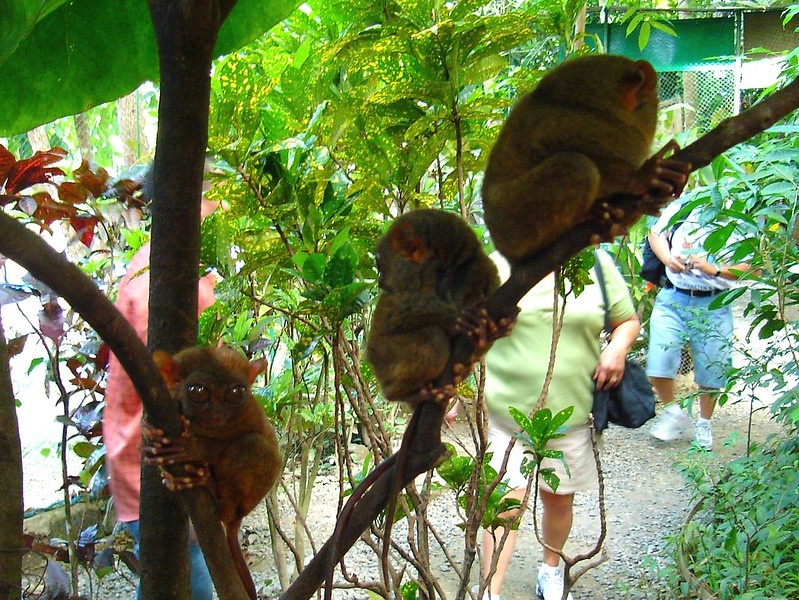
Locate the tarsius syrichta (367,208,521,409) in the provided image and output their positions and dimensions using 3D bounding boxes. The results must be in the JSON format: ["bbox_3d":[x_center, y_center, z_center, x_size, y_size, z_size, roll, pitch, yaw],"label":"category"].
[{"bbox_3d":[0.114,0.021,1.726,0.370,0.480,0.338,6,1,26],"label":"tarsius syrichta"}]

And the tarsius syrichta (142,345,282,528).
[{"bbox_3d":[-0.489,0.359,1.747,0.362,0.476,0.269,6,-4,-5],"label":"tarsius syrichta"}]

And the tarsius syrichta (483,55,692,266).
[{"bbox_3d":[0.428,-0.361,1.631,0.460,0.550,0.348,1,3,9],"label":"tarsius syrichta"}]

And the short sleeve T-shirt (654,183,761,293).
[{"bbox_3d":[2.706,-0.504,6.097,0.911,0.858,0.519,14,25,34],"label":"short sleeve T-shirt"}]

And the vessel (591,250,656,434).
[{"bbox_3d":[1.282,0.263,3.878,0.338,1.079,0.588,1,4,19],"label":"vessel"}]
